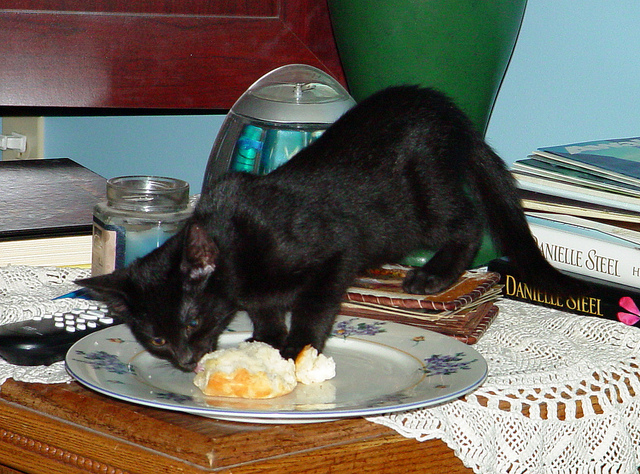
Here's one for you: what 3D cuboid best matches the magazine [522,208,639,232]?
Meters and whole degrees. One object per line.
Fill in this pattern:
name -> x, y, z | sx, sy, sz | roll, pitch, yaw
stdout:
magazine -> 0.460, -0.029, 1.029 | 0.201, 0.006, 0.135 | 7, 13, 37

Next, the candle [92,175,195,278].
candle -> -0.303, -0.028, 1.075 | 0.189, 0.185, 0.153 | -4, 17, -33

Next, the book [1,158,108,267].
book -> -0.631, 0.011, 1.427 | 0.589, 0.076, 0.304 | -2, 14, -10
